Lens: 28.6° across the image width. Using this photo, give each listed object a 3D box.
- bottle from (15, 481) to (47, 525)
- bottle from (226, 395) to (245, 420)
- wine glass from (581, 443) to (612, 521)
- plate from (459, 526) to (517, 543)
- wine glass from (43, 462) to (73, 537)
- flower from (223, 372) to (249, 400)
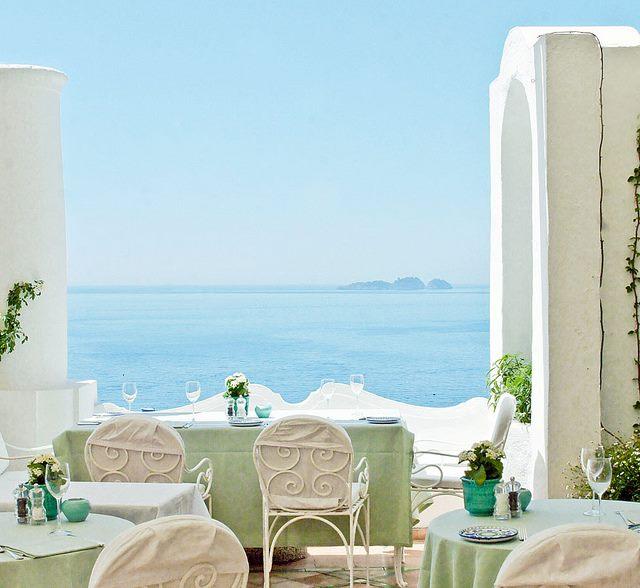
[{"bbox_3d":[-1.620,1.178,7.007,0.182,0.223,0.140,-3,-2,-1],"label":"bottle"},{"bbox_3d":[-0.606,0.830,9.011,0.138,0.152,0.141,0,1,-4],"label":"bottle"},{"bbox_3d":[1.567,1.057,7.113,0.154,0.304,0.495,-3,-2,11],"label":"wine glass"},{"bbox_3d":[0.921,1.324,6.848,0.318,0.058,0.186,-4,-2,9],"label":"plate"},{"bbox_3d":[-1.451,1.130,6.929,0.127,0.385,0.287,-2,-2,-13],"label":"wine glass"},{"bbox_3d":[-0.613,0.677,9.111,0.168,0.190,0.173,1,0,3],"label":"flower"}]
